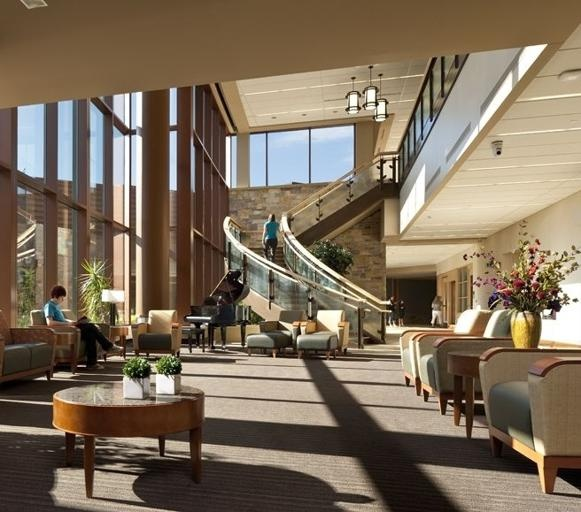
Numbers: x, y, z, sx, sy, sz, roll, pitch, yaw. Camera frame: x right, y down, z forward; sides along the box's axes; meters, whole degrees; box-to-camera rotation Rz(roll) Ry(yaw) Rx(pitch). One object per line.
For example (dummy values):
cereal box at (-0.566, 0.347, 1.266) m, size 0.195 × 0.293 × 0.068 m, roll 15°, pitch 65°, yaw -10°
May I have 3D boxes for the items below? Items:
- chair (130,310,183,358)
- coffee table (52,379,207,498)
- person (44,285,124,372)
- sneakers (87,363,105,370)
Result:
chair at (-2.359, 1.364, 10.061) m, size 0.735 × 0.920 × 0.837 m, roll 0°, pitch -11°, yaw 1°
coffee table at (-1.150, 1.266, 4.041) m, size 1.058 × 0.588 × 0.770 m, roll 1°, pitch -2°, yaw -6°
person at (-3.346, 1.132, 9.002) m, size 1.325 × 1.808 × 0.749 m, roll -2°, pitch -7°, yaw -26°
sneakers at (-2.931, 1.662, 8.583) m, size 0.233 × 0.126 × 0.109 m, roll 2°, pitch -6°, yaw -7°
